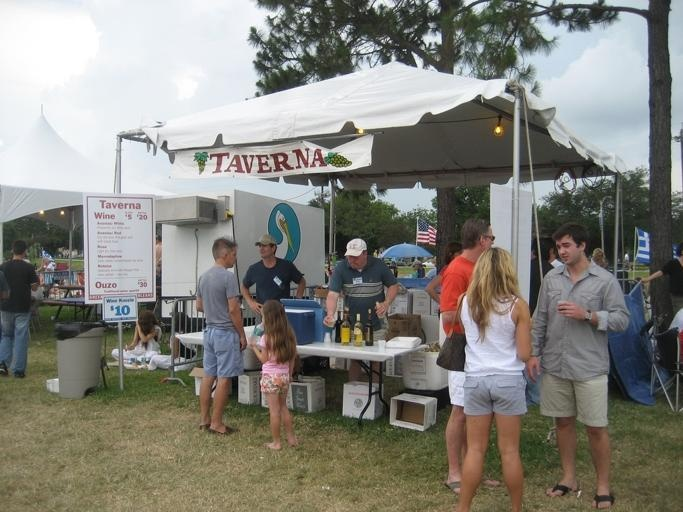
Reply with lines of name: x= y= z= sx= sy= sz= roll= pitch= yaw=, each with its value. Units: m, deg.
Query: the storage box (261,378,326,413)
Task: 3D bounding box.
storage box: x=-0.673 y=1.950 z=10.491 sx=0.483 sy=0.600 sz=0.898 roll=10 pitch=-14 yaw=-41

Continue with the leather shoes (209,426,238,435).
leather shoes: x=-1.507 y=2.207 z=9.420 sx=0.314 sy=0.101 sz=0.134 roll=1 pitch=-5 yaw=-1

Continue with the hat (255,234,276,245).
hat: x=-1.039 y=-0.219 z=10.642 sx=0.170 sy=0.145 sz=0.253 roll=-4 pitch=-8 yaw=29

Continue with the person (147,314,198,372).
person: x=-2.872 y=1.685 z=12.478 sx=0.715 sy=0.991 sz=0.838 roll=2 pitch=-40 yaw=-21

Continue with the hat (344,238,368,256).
hat: x=0.189 y=-0.102 z=10.075 sx=0.270 sy=0.265 sz=0.387 roll=-1 pitch=13 yaw=-3

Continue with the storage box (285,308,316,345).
storage box: x=-0.529 y=0.914 z=9.601 sx=0.319 sy=0.484 sz=0.628 roll=0 pitch=0 yaw=7

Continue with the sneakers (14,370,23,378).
sneakers: x=-4.926 y=1.805 z=11.430 sx=0.113 sy=0.126 sz=0.086 roll=0 pitch=0 yaw=6

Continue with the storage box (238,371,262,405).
storage box: x=-1.392 y=1.841 z=10.548 sx=0.311 sy=0.460 sz=0.334 roll=-2 pitch=-9 yaw=24

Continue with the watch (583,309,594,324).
watch: x=2.608 y=0.637 z=7.908 sx=0.085 sy=0.112 sz=0.032 roll=17 pitch=-13 yaw=-20

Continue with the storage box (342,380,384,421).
storage box: x=0.321 y=1.907 z=10.005 sx=0.503 sy=0.478 sz=0.403 roll=4 pitch=13 yaw=33

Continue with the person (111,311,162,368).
person: x=-3.227 y=1.423 z=12.579 sx=0.884 sy=1.187 sz=0.784 roll=1 pitch=-5 yaw=0

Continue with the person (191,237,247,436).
person: x=-1.518 y=0.996 z=9.627 sx=0.612 sy=2.431 sz=0.736 roll=0 pitch=3 yaw=-41

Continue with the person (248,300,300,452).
person: x=-0.807 y=1.435 z=9.016 sx=0.508 sy=1.746 sz=0.461 roll=-1 pitch=13 yaw=-5

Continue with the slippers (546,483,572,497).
slippers: x=2.375 y=2.572 z=8.202 sx=0.235 sy=0.070 sz=0.120 roll=5 pitch=-8 yaw=-23

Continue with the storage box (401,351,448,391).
storage box: x=1.099 y=1.556 z=10.208 sx=0.532 sy=0.574 sz=0.740 roll=0 pitch=-2 yaw=14

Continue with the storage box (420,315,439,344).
storage box: x=1.312 y=1.088 z=11.049 sx=0.293 sy=0.426 sz=0.330 roll=-2 pitch=0 yaw=7

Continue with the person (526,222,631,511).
person: x=2.535 y=1.155 z=8.075 sx=0.984 sy=2.940 sz=0.684 roll=5 pitch=13 yaw=20

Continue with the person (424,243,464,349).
person: x=1.364 y=0.553 z=10.048 sx=0.470 sy=1.562 sz=0.726 roll=-1 pitch=40 yaw=11

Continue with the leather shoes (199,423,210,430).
leather shoes: x=-1.733 y=2.178 z=9.504 sx=0.157 sy=0.074 sz=0.058 roll=8 pitch=-12 yaw=-26

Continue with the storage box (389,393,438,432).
storage box: x=0.955 y=2.031 z=9.723 sx=0.584 sy=0.366 sz=0.587 roll=3 pitch=1 yaw=-38

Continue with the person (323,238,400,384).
person: x=0.164 y=0.896 z=10.068 sx=1.122 sy=2.204 sz=0.787 roll=-12 pitch=15 yaw=-41
